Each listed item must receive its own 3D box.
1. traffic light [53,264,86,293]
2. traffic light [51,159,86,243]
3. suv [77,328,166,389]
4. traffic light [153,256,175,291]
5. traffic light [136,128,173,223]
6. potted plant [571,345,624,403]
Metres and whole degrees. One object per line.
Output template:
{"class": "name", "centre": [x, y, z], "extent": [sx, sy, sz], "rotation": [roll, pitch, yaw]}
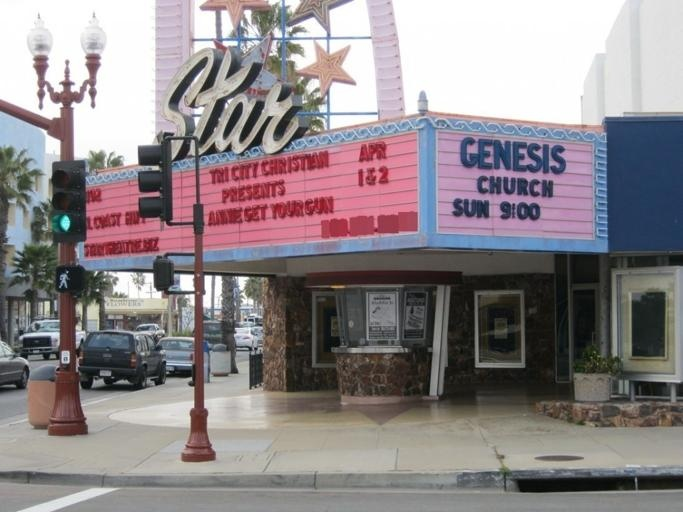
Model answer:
{"class": "traffic light", "centre": [-5.608, 0.476, 17.243], "extent": [0.575, 0.587, 0.471], "rotation": [0, -3, -14]}
{"class": "traffic light", "centre": [-5.436, -1.052, 16.457], "extent": [0.702, 1.585, 0.539], "rotation": [1, 3, 5]}
{"class": "suv", "centre": [-7.520, 3.491, 28.446], "extent": [1.759, 1.800, 4.273], "rotation": [0, -3, -4]}
{"class": "traffic light", "centre": [-3.275, 0.331, 15.333], "extent": [0.359, 0.676, 0.485], "rotation": [0, -3, -14]}
{"class": "traffic light", "centre": [-3.400, -1.400, 15.256], "extent": [0.599, 1.641, 0.602], "rotation": [-1, -3, -10]}
{"class": "potted plant", "centre": [5.647, 2.689, 18.527], "extent": [0.859, 1.374, 0.794], "rotation": [-6, -6, 39]}
